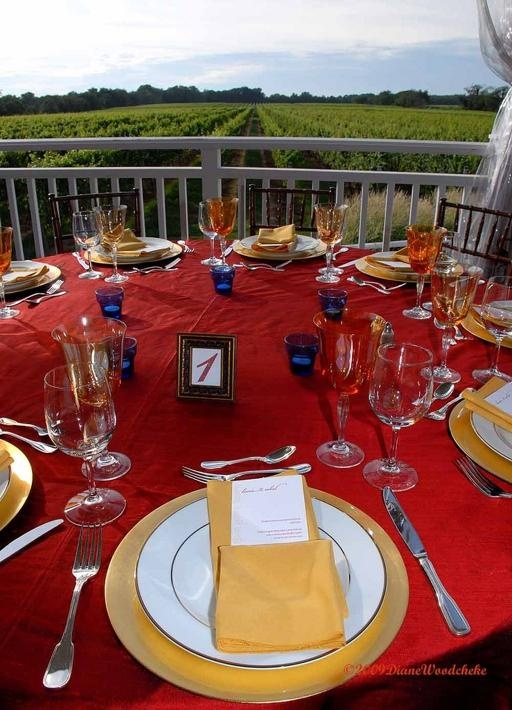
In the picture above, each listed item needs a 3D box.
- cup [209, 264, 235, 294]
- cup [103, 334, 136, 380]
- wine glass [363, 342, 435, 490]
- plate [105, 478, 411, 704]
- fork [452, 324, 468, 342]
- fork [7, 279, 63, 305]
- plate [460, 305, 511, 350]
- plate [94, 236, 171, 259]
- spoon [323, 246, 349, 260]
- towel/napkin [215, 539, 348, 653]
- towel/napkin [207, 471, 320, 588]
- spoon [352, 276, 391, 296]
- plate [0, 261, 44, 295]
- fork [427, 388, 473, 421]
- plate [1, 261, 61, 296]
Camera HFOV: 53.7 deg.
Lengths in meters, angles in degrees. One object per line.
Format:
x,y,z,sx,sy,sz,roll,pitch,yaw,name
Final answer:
-0.096,-0.228,1.564,0.088,0.083,0.083,1,32,-1,cup
-0.222,0.002,0.892,0.068,0.080,0.076,0,13,-8,cup
0.210,0.093,0.741,0.090,0.216,0.096,21,39,27,wine glass
-0.002,0.184,0.417,0.162,0.022,0.159,4,28,6,plate
0.496,-0.054,1.228,0.025,0.012,0.075,6,16,9,fork
-0.667,-0.186,1.510,0.026,0.024,0.161,19,35,32,fork
0.557,-0.070,1.240,0.092,0.018,0.095,5,39,-10,plate
-0.406,-0.392,1.839,0.150,0.022,0.154,27,37,37,plate
0.315,-0.390,1.908,0.029,0.019,0.180,4,21,24,spoon
0.022,0.215,0.463,0.117,0.023,0.111,0,23,0,towel/napkin
0.002,0.164,0.556,0.089,0.023,0.084,4,46,5,towel/napkin
0.347,-0.232,1.590,0.043,0.032,0.175,-32,38,-22,spoon
-0.735,-0.255,1.593,0.127,0.021,0.126,4,34,4,plate
0.342,0.088,0.895,0.032,0.023,0.228,25,17,25,fork
-0.712,-0.250,1.597,0.148,0.025,0.148,6,26,10,plate
